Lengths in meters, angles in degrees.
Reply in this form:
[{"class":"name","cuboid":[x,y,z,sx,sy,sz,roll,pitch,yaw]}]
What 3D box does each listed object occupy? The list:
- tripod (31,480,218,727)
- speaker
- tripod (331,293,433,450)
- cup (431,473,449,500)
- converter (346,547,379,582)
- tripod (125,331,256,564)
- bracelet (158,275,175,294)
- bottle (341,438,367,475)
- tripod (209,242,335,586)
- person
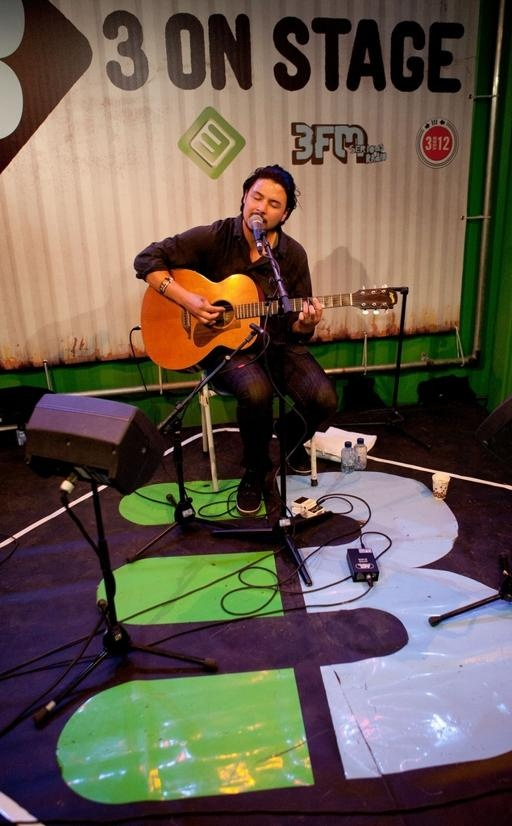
[{"class":"tripod","cuboid":[-0.486,0.463,1.939,0.596,0.556,0.715,-3,45,-21]},{"class":"speaker","cuboid":[-0.446,0.073,1.546,0.325,0.224,0.234,9,21,23]},{"class":"tripod","cuboid":[0.934,-0.451,3.888,0.756,0.729,1.113,8,65,8]},{"class":"cup","cuboid":[0.896,0.353,2.821,0.105,0.119,0.115,1,16,0]},{"class":"converter","cuboid":[0.415,0.587,2.212,0.110,0.070,0.178,-1,19,-3]},{"class":"tripod","cuboid":[-0.307,0.167,2.726,0.512,0.930,0.614,-4,42,-5]},{"class":"bracelet","cuboid":[-0.442,-0.618,2.772,0.076,0.072,0.080,39,9,-29]},{"class":"bottle","cuboid":[0.554,0.224,3.176,0.166,0.177,0.123,-1,18,-4]},{"class":"tripod","cuboid":[0.099,-0.051,2.707,0.557,1.596,0.204,-1,-8,6]},{"class":"person","cuboid":[-0.007,-0.369,2.802,0.735,1.528,0.724,-11,28,-24]}]
